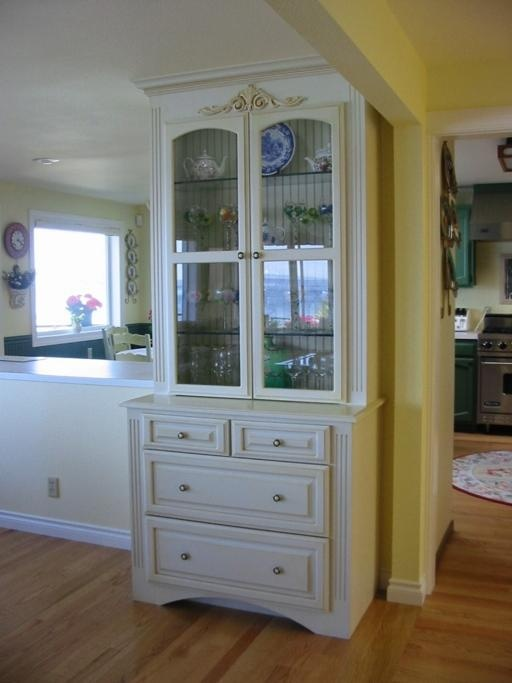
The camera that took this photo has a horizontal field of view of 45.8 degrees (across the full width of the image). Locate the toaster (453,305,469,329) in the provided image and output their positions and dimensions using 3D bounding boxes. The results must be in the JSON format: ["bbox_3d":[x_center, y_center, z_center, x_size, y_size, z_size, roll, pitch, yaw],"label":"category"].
[{"bbox_3d":[1.953,-0.220,5.764,0.110,0.222,0.310,0,2,20],"label":"toaster"}]

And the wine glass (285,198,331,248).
[{"bbox_3d":[0.199,-0.450,2.267,0.198,0.182,0.066,1,2,22],"label":"wine glass"}]

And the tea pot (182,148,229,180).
[{"bbox_3d":[-0.203,-0.707,2.417,0.156,0.095,0.098,4,19,13],"label":"tea pot"}]

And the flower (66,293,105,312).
[{"bbox_3d":[-1.845,-0.421,6.410,0.198,0.185,0.420,0,2,28],"label":"flower"}]

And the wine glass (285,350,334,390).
[{"bbox_3d":[0.209,0.104,2.303,0.154,0.134,0.050,-1,1,26],"label":"wine glass"}]

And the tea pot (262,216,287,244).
[{"bbox_3d":[0.066,-0.418,2.270,0.108,0.112,0.083,10,14,28],"label":"tea pot"}]

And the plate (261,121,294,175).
[{"bbox_3d":[0.079,-0.729,2.291,0.169,0.166,0.044,3,14,25],"label":"plate"}]

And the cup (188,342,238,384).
[{"bbox_3d":[-0.166,0.093,2.458,0.259,0.178,0.141,3,7,30],"label":"cup"}]

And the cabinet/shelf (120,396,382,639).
[{"bbox_3d":[-0.021,0.615,2.428,0.895,0.823,0.462,1,5,16],"label":"cabinet/shelf"}]

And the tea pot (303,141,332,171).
[{"bbox_3d":[0.229,-0.685,2.230,0.099,0.065,0.071,-7,15,-24],"label":"tea pot"}]
